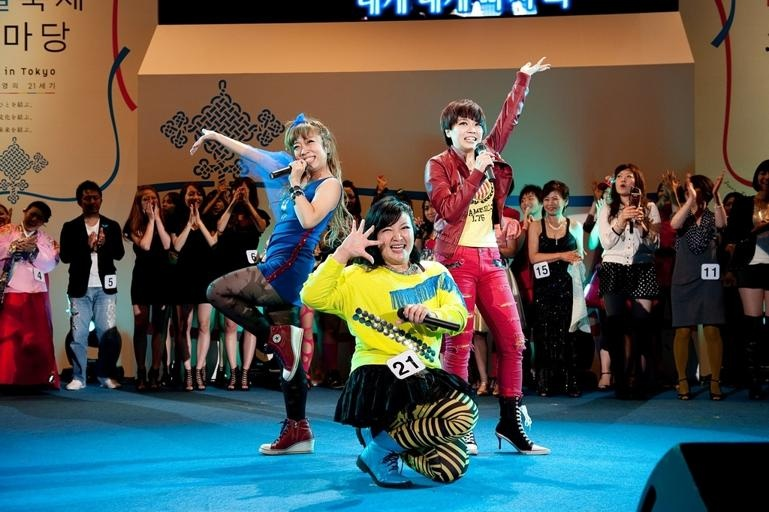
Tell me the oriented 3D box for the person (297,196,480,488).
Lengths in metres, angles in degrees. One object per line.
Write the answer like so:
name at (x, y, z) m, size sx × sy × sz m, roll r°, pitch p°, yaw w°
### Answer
person at (0.046, 0.482, 3.463) m, size 0.928 × 1.649 × 0.437 m, roll 1°, pitch -4°, yaw -8°

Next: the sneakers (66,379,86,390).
sneakers at (-3.281, 1.372, 6.445) m, size 0.092 × 0.074 × 0.178 m, roll 2°, pitch -16°, yaw -8°

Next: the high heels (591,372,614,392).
high heels at (2.308, 1.305, 6.388) m, size 0.160 × 0.203 × 0.187 m, roll -1°, pitch -5°, yaw 19°

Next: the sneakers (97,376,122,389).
sneakers at (-2.970, 1.365, 6.547) m, size 0.249 × 0.111 × 0.110 m, roll -6°, pitch -9°, yaw 34°

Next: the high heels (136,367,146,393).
high heels at (-2.548, 1.297, 6.359) m, size 0.079 × 0.175 × 0.246 m, roll 1°, pitch -14°, yaw -9°

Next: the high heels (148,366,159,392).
high heels at (-2.423, 1.299, 6.374) m, size 0.135 × 0.190 × 0.457 m, roll 2°, pitch -13°, yaw -16°

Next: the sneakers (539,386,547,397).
sneakers at (1.597, 1.366, 6.152) m, size 0.044 × 0.098 × 0.138 m, roll -3°, pitch -30°, yaw 8°

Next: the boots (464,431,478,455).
boots at (0.564, 1.241, 4.007) m, size 0.088 × 0.134 × 0.284 m, roll -2°, pitch -19°, yaw 4°

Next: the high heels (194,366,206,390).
high heels at (-1.974, 1.301, 6.507) m, size 0.082 × 0.103 × 0.257 m, roll -4°, pitch 27°, yaw -16°

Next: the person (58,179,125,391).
person at (-3.180, 0.294, 6.604) m, size 0.690 × 2.248 × 0.321 m, roll 1°, pitch -4°, yaw -12°

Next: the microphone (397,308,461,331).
microphone at (0.241, 0.355, 3.377) m, size 0.346 × 0.123 × 0.195 m, roll 0°, pitch -5°, yaw -2°

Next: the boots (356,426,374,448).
boots at (-0.125, 1.075, 3.614) m, size 0.059 × 0.089 × 0.183 m, roll 4°, pitch -3°, yaw -1°

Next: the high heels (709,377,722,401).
high heels at (3.172, 1.272, 5.829) m, size 0.102 × 0.186 × 0.342 m, roll -2°, pitch -5°, yaw 28°

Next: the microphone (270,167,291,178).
microphone at (-0.686, -0.550, 4.002) m, size 0.116 × 0.035 × 0.122 m, roll -17°, pitch -29°, yaw -3°

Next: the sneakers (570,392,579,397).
sneakers at (1.900, 1.379, 6.054) m, size 0.115 × 0.048 × 0.095 m, roll 1°, pitch -5°, yaw -4°

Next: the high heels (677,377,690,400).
high heels at (2.871, 1.273, 5.859) m, size 0.106 × 0.191 × 0.277 m, roll -2°, pitch -5°, yaw 26°

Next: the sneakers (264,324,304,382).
sneakers at (-0.644, 0.595, 3.933) m, size 0.239 × 0.448 × 0.152 m, roll -3°, pitch 3°, yaw -10°

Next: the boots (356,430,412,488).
boots at (-0.001, 1.156, 3.479) m, size 0.351 × 0.281 × 0.158 m, roll 21°, pitch 15°, yaw 38°
